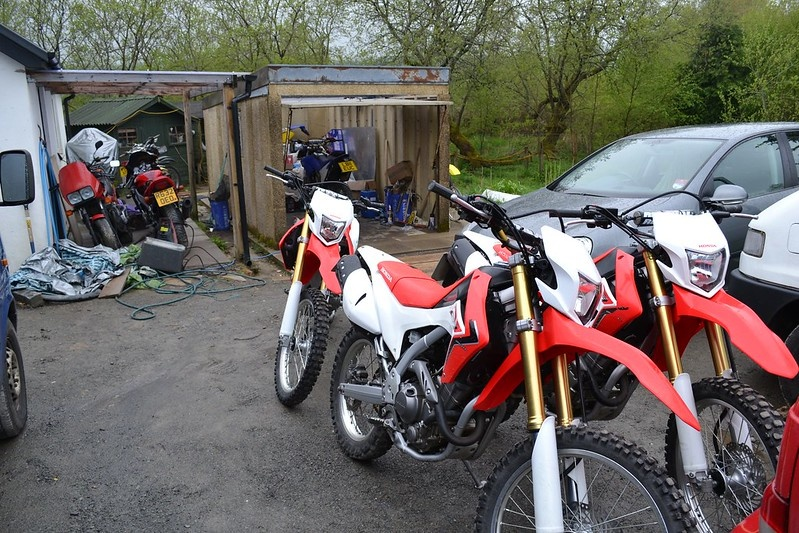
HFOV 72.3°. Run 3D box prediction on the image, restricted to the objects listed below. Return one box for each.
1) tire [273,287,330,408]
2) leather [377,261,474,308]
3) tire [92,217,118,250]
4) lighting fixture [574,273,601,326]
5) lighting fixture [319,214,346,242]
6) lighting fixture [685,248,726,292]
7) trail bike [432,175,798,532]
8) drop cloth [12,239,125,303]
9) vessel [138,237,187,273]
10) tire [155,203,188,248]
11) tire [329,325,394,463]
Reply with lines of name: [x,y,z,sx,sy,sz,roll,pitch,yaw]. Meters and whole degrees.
tire: [-0.831,0.728,4.706,0.190,0.694,0.705,9,39,-23]
leather: [0.148,0.099,3.662,0.539,0.340,0.245,20,34,33]
tire: [-4.516,-0.497,8.335,0.087,0.403,0.400,-22,31,-27]
lighting fixture: [0.992,0.172,2.882,0.190,0.261,0.058,-11,21,-27]
lighting fixture: [-0.570,-0.320,4.559,0.165,0.215,0.089,17,4,-12]
lighting fixture: [1.799,0.013,3.218,0.177,0.276,0.118,2,4,-5]
trail bike: [1.628,0.307,4.271,1.390,1.879,2.786,0,13,-32]
drop cloth: [-4.493,0.016,7.459,1.198,0.485,1.363,-2,21,-4]
vessel: [-3.529,-0.090,8.356,0.753,0.464,0.592,16,-6,-3]
tire: [-3.810,-0.670,9.045,0.323,0.958,0.798,1,0,-11]
tire: [-0.272,0.955,3.968,0.172,0.899,0.744,7,15,-31]
